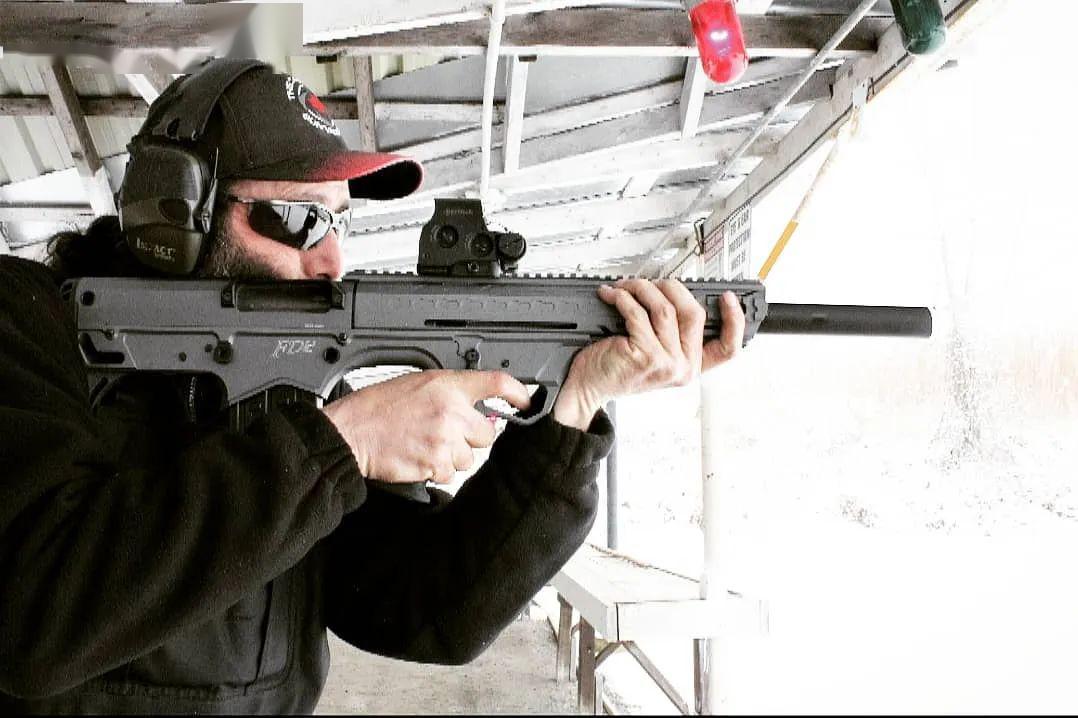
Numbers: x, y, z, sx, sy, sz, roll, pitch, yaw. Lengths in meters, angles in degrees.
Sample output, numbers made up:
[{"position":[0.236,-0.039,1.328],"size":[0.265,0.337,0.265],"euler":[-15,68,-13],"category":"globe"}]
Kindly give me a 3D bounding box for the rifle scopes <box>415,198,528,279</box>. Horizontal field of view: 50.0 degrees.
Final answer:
[{"position":[-0.265,-0.456,4.437],"size":[0.404,0.291,0.238],"euler":[3,3,-9],"category":"rifle scopes"}]

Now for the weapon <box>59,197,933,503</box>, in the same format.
[{"position":[-0.115,-0.037,4.433],"size":[3.293,1.128,0.364],"euler":[1,7,-2],"category":"weapon"}]
